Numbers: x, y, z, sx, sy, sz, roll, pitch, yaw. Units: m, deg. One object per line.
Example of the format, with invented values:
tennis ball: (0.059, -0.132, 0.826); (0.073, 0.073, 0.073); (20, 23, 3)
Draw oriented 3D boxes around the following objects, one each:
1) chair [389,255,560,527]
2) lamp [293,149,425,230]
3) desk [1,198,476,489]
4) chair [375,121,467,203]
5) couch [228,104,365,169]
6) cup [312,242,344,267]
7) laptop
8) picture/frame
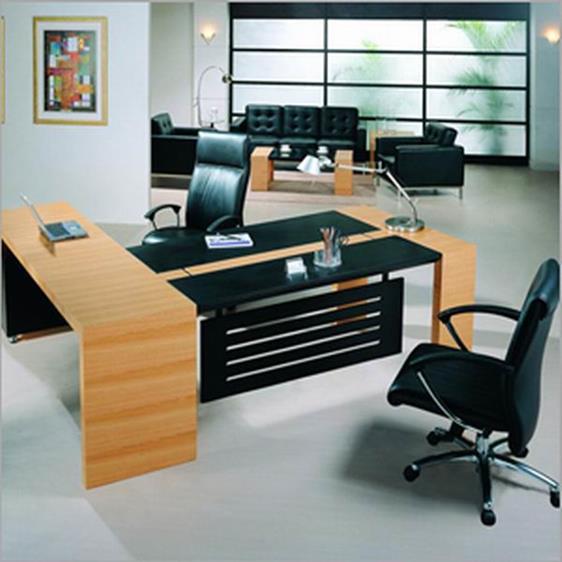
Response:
chair: (0.773, 0.253, 2.618); (0.897, 1.261, 0.955); (6, 24, 24)
lamp: (0.518, -0.557, 3.455); (0.775, 0.504, 0.247); (-3, 7, 5)
desk: (-0.219, 0.132, 2.783); (1.710, 0.629, 1.644); (-11, 20, -33)
chair: (2.056, -1.832, 8.082); (0.994, 0.954, 1.384); (-5, 20, -4)
couch: (0.427, -2.796, 9.967); (2.328, 1.199, 1.096); (2, 38, 7)
cup: (0.240, -0.136, 2.886); (0.121, 0.089, 0.113); (-1, 18, 0)
laptop: (-1.352, -0.357, 3.222); (0.331, 0.227, 0.329); (-8, 23, -24)
picture/frame: (-2.118, -2.085, 5.393); (0.837, 0.983, 0.176); (2, 13, 8)
